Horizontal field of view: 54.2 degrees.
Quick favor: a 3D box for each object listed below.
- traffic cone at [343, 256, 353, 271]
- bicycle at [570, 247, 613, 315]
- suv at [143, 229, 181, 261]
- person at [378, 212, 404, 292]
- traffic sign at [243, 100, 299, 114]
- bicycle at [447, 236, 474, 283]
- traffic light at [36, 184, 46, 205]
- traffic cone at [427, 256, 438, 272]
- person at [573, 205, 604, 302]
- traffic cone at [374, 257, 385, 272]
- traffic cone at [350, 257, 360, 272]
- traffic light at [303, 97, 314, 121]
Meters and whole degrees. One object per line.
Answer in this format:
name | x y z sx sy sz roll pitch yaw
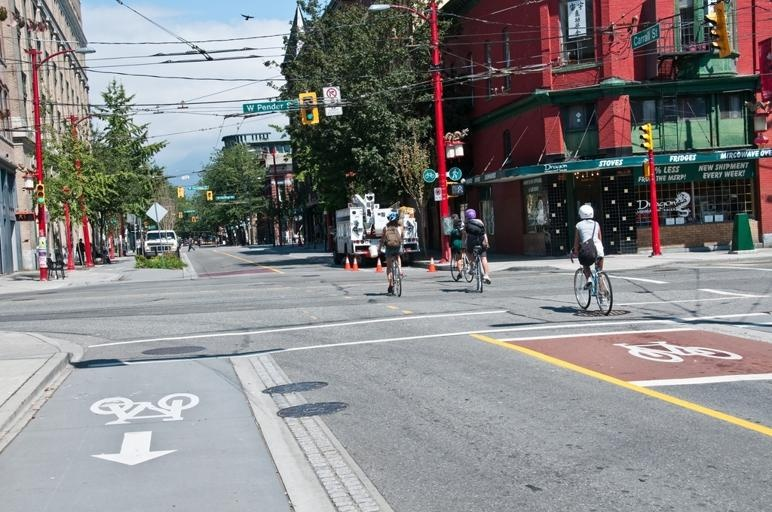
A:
traffic cone | -1.699 0.332 33.525 0.545 0.698 0.603 -1 -6 3
bicycle | 4.276 0.518 15.452 0.537 1.390 2.079 0 -1 -8
suv | -18.134 -0.939 61.222 2.204 1.924 3.956 -1 -4 -13
person | 0.309 -0.040 20.093 0.659 2.034 0.950 -1 -1 -6
traffic sign | -4.655 -6.063 30.583 2.218 0.596 1.317 -5 8 -15
bicycle | 2.281 0.199 23.550 0.686 0.789 1.260 -4 12 -4
traffic light | -15.155 -2.728 33.074 0.243 0.933 0.676 -8 9 -32
traffic cone | 1.916 0.392 29.539 0.464 0.571 0.517 -1 -3 -7
person | 4.127 -0.209 15.356 0.564 1.578 1.102 0 1 17
traffic cone | -0.261 0.376 30.338 0.533 0.587 0.538 -5 3 -41
traffic cone | -1.450 0.401 34.226 0.580 0.670 0.580 -3 -1 29
traffic light | -3.003 -5.841 29.877 0.427 0.970 0.670 -4 8 -6
